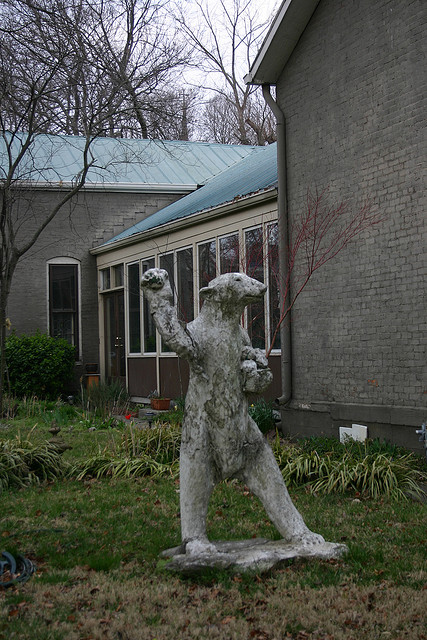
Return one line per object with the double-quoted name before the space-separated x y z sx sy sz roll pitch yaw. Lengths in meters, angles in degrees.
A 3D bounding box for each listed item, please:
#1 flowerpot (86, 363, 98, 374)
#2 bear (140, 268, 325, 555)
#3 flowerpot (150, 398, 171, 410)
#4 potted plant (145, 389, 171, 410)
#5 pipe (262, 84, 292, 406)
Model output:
"flowerpot" -2.987 1.212 15.520 0.226 0.191 0.243 -1 2 12
"bear" 0.054 0.524 3.522 0.916 1.587 0.500 -1 -2 -25
"flowerpot" -1.020 1.580 11.851 0.273 0.145 0.184 1 0 26
"potted plant" -1.050 1.526 12.021 0.301 0.190 0.490 1 -6 -28
"pipe" 0.939 -1.035 8.888 0.259 4.209 0.400 2 2 -3
